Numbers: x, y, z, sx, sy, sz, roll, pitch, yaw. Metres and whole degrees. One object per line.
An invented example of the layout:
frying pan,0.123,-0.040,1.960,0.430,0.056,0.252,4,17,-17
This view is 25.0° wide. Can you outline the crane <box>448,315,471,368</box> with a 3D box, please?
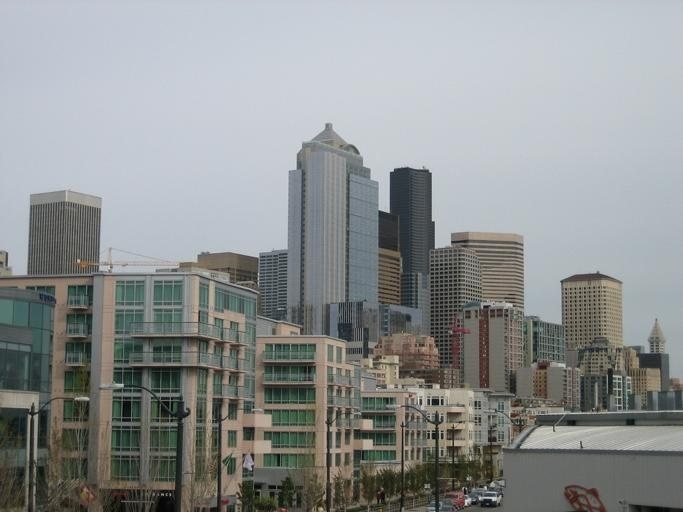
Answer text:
crane,44.022,31.928,576.972,5.776,25.890,36.237,-2,-14,4
